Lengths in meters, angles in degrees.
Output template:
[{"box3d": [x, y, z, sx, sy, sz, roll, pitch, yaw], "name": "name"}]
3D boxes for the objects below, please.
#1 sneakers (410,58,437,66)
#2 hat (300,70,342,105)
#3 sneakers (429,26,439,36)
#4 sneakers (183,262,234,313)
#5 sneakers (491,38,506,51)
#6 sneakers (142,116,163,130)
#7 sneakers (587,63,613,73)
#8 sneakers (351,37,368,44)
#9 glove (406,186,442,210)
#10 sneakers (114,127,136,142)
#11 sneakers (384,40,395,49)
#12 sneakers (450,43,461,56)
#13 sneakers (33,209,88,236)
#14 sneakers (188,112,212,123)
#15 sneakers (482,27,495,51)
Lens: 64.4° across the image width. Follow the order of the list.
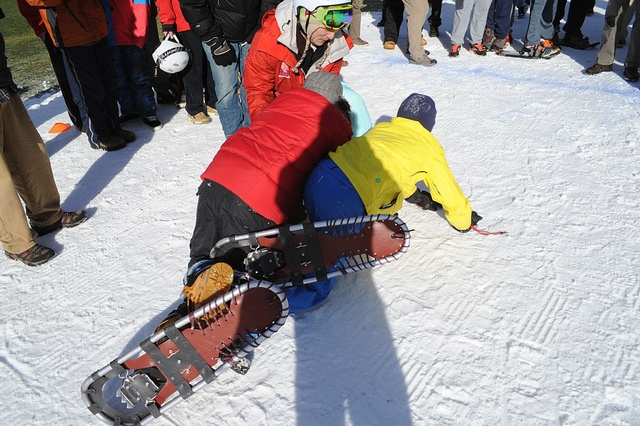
[{"box3d": [1.424, -2.062, 6.963, 0.332, 0.151, 0.133, 4, 42, 12], "name": "sneakers"}, {"box3d": [0.030, -0.966, 3.944, 0.293, 0.259, 0.229, -7, 20, -25], "name": "hat"}, {"box3d": [1.809, -2.903, 8.101, 0.148, 0.146, 0.226, 4, 26, 7], "name": "sneakers"}, {"box3d": [-0.744, 0.494, 3.646, 0.475, 0.203, 0.224, -36, 0, -1], "name": "sneakers"}, {"box3d": [2.534, -2.382, 7.231, 0.189, 0.189, 0.074, 36, 33, 30], "name": "sneakers"}, {"box3d": [-1.944, -1.059, 5.997, 0.290, 0.115, 0.107, 20, 69, 16], "name": "sneakers"}, {"box3d": [3.427, -1.766, 6.306, 0.323, 0.137, 0.121, 1, 46, 8], "name": "sneakers"}, {"box3d": [0.611, -2.589, 7.728, 0.267, 0.119, 0.091, -1, 57, 4], "name": "sneakers"}, {"box3d": [0.890, -0.121, 4.349, 0.223, 0.075, 0.100, 28, 33, 12], "name": "glove"}, {"box3d": [-2.147, -0.874, 5.692, 0.235, 0.099, 0.092, 23, 61, 9], "name": "sneakers"}, {"box3d": [1.040, -2.489, 7.557, 0.120, 0.072, 0.122, 31, 52, 32], "name": "sneakers"}, {"box3d": [1.905, -2.283, 7.145, 0.080, 0.097, 0.215, 3, 0, 8], "name": "sneakers"}, {"box3d": [-2.332, 0.085, 4.684, 0.479, 0.200, 0.173, -21, 46, -15], "name": "sneakers"}, {"box3d": [-1.405, -1.115, 5.974, 0.229, 0.104, 0.116, 6, 33, 16], "name": "sneakers"}, {"box3d": [2.424, -2.499, 7.329, 0.120, 0.387, 0.167, 4, -6, 15], "name": "sneakers"}]
